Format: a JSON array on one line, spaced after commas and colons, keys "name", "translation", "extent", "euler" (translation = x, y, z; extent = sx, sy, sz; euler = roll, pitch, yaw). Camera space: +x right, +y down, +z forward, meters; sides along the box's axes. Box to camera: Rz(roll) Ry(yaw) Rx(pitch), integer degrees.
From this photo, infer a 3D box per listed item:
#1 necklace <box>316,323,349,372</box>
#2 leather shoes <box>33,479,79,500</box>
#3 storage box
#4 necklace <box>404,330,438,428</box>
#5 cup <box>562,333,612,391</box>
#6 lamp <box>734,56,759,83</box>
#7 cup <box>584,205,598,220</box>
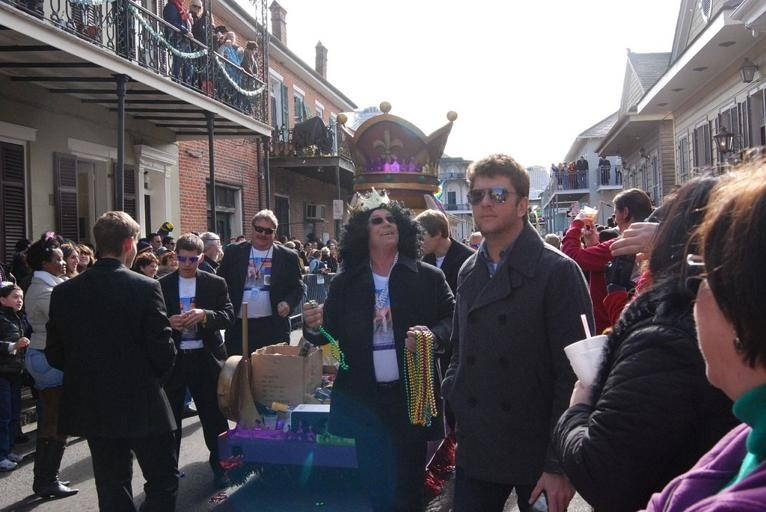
[{"name": "necklace", "translation": [-0.387, 0.701, 5.473], "extent": [0.162, 0.319, 0.308], "euler": [-1, 4, -20]}, {"name": "leather shoes", "translation": [-3.025, 2.149, 6.545], "extent": [0.253, 0.099, 0.197], "euler": [-1, -2, -14]}, {"name": "storage box", "translation": [-0.954, 1.151, 7.012], "extent": [0.499, 0.434, 0.680], "euler": [1, 3, 9]}, {"name": "necklace", "translation": [0.283, 0.901, 5.236], "extent": [0.227, 0.716, 0.167], "euler": [1, 3, 4]}, {"name": "cup", "translation": [1.033, 0.553, 3.635], "extent": [0.221, 0.249, 0.229], "euler": [-11, -14, -3]}, {"name": "lamp", "translation": [7.248, -3.626, 14.061], "extent": [0.325, 0.470, 0.999], "euler": [2, 4, 27]}, {"name": "cup", "translation": [1.962, -0.397, 6.670], "extent": [0.162, 0.140, 0.146], "euler": [-2, 8, -14]}]
